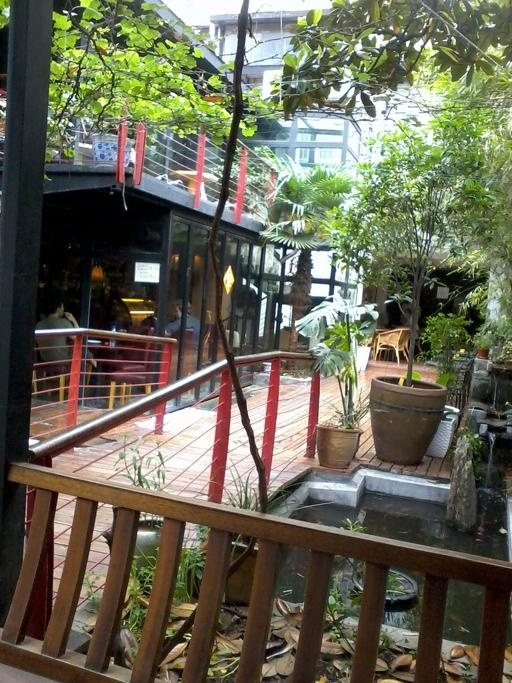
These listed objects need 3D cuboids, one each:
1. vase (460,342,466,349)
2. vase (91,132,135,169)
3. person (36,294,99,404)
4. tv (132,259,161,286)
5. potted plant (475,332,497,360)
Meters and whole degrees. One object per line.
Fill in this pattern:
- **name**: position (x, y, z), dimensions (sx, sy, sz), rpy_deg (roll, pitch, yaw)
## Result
- **vase**: position (3.163, 0.071, 8.179), dimensions (0.111, 0.101, 0.096), rpy_deg (-16, -1, 26)
- **vase**: position (-1.511, -2.006, 5.693), dimensions (0.466, 0.359, 0.234), rpy_deg (6, 4, -13)
- **person**: position (-2.146, 0.147, 6.077), dimensions (0.691, 1.301, 2.048), rpy_deg (7, 4, -20)
- **tv**: position (-1.329, -0.831, 6.565), dimensions (0.377, 0.272, 0.083), rpy_deg (10, 4, 35)
- **potted plant**: position (2.917, 0.048, 6.794), dimensions (0.343, 0.354, 0.386), rpy_deg (2, 3, 28)
